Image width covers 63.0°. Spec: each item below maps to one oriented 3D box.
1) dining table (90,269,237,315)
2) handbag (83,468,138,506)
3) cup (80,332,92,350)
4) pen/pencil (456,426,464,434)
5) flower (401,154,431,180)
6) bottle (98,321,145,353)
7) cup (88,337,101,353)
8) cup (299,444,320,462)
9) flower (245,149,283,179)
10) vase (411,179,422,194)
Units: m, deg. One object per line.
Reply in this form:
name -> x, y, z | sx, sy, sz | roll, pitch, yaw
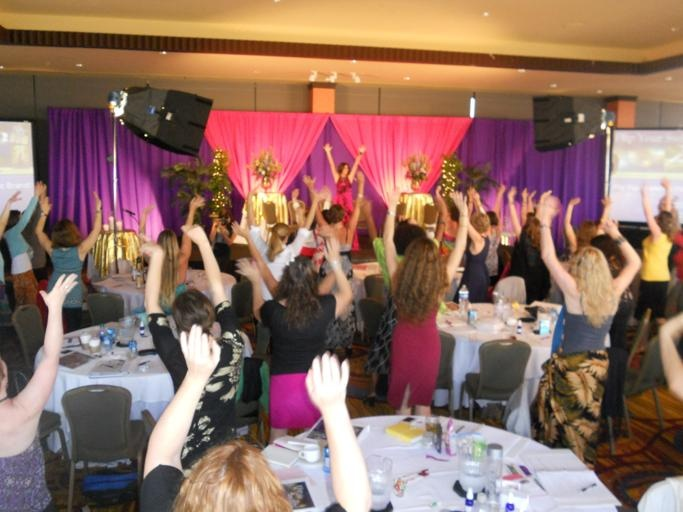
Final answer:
dining table -> -2.677, 0.430, 7.336 | 0.888, 0.407, 1.093 | 1, 3, -3
handbag -> -1.893, 1.903, 4.574 | 0.328, 0.147, 0.281 | 3, 6, -12
cup -> -2.343, 0.783, 5.135 | 0.102, 0.141, 0.115 | 1, 9, 9
pen/pencil -> 0.825, 1.206, 3.865 | 0.016, 0.010, 0.124 | 2, 9, 28
flower -> 1.721, -1.963, 12.666 | 0.536, 0.654, 0.419 | 1, -27, 4
bottle -> -2.036, 0.769, 5.282 | 0.322, 0.081, 0.352 | 4, 7, 0
cup -> -2.249, 0.802, 5.090 | 0.102, 0.135, 0.105 | 2, 10, 0
cup -> -0.197, 1.269, 3.608 | 0.111, 0.096, 0.090 | -3, 7, -15
flower -> -1.639, -1.969, 12.251 | 0.593, 0.289, 0.632 | -31, -43, 30
vase -> 1.701, -1.581, 12.653 | 0.201, 0.275, 0.236 | 4, 41, 2
